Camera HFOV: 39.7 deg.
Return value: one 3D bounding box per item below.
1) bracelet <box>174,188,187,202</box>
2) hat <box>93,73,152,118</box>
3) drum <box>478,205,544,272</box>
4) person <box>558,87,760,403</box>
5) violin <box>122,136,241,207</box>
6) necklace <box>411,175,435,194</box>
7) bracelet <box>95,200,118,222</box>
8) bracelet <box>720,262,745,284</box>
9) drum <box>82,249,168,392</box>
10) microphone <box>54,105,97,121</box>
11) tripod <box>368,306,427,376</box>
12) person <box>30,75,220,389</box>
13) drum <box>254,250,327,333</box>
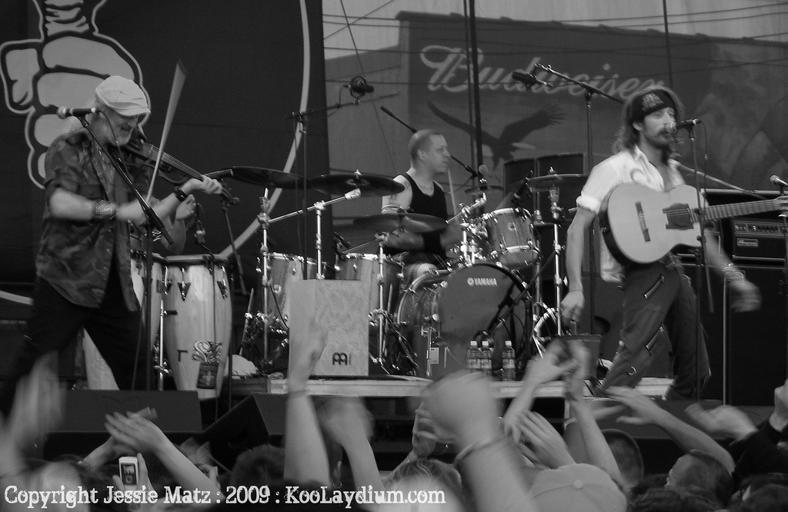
[{"bbox_3d":[-1.475,-0.416,7.493,0.047,0.070,0.088,-41,31,-15],"label":"bracelet"},{"bbox_3d":[-1.897,-1.103,7.606,0.456,0.245,0.369,17,15,30],"label":"hat"},{"bbox_3d":[1.004,-0.182,9.347,0.463,0.499,0.489,-10,-19,1],"label":"drum"},{"bbox_3d":[1.875,-0.115,7.873,1.414,2.227,0.656,1,1,-2],"label":"person"},{"bbox_3d":[-1.608,-0.608,7.749,1.015,0.267,0.162,21,43,21],"label":"violin"},{"bbox_3d":[0.271,-0.668,10.222,0.202,0.164,0.192,9,28,6],"label":"necklace"},{"bbox_3d":[-1.968,-0.301,7.394,0.142,0.129,0.089,1,1,-17],"label":"bracelet"},{"bbox_3d":[2.501,0.127,7.997,0.163,0.117,0.173,10,-9,-1],"label":"bracelet"},{"bbox_3d":[-2.051,0.510,8.115,0.803,1.000,0.848,0,-8,-1],"label":"drum"},{"bbox_3d":[-2.162,-0.967,7.407,0.255,0.089,0.363,1,1,-20],"label":"microphone"},{"bbox_3d":[-0.034,0.736,9.017,0.543,0.380,0.233,22,-3,-15],"label":"tripod"},{"bbox_3d":[-1.987,-0.166,7.461,1.012,2.138,0.458,1,1,-14],"label":"person"},{"bbox_3d":[-0.828,0.308,9.111,0.555,0.657,0.605,3,-6,-17],"label":"drum"}]
